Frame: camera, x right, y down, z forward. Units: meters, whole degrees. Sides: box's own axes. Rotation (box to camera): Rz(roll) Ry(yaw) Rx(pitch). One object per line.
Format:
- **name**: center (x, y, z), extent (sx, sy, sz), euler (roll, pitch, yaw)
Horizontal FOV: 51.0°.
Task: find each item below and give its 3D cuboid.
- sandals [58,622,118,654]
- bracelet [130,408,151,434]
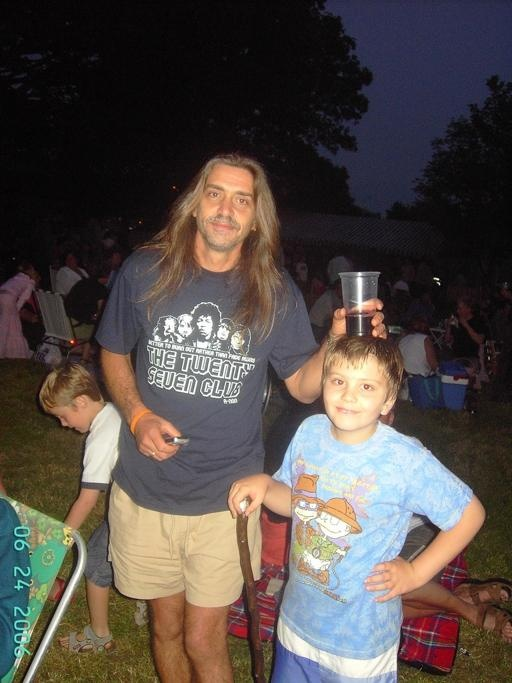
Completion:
- **sandals**: center (-0.933, 1.614, 2.969), extent (0.268, 0.108, 0.141), euler (7, -7, -5)
- **bracelet**: center (-0.420, 0.276, 1.924), extent (0.033, 0.084, 0.073), euler (30, -3, -4)
